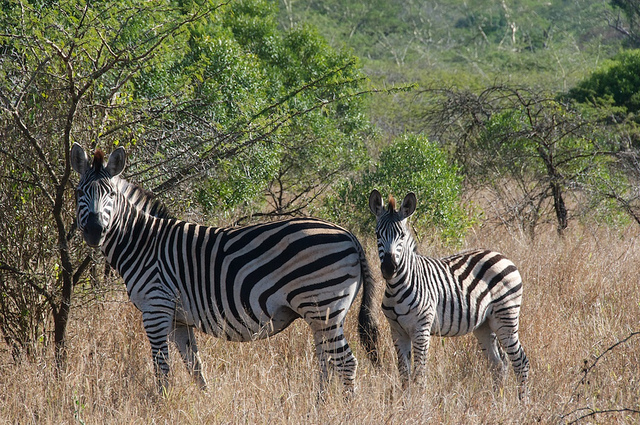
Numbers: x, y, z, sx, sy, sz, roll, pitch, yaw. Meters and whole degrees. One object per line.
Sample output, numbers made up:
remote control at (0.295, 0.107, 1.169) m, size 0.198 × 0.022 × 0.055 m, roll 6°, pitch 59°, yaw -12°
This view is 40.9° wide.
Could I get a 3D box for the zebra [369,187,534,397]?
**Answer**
zebra at (1.814, 1.205, 12.570) m, size 3.180 × 3.200 × 1.050 m, roll -2°, pitch 7°, yaw -36°
